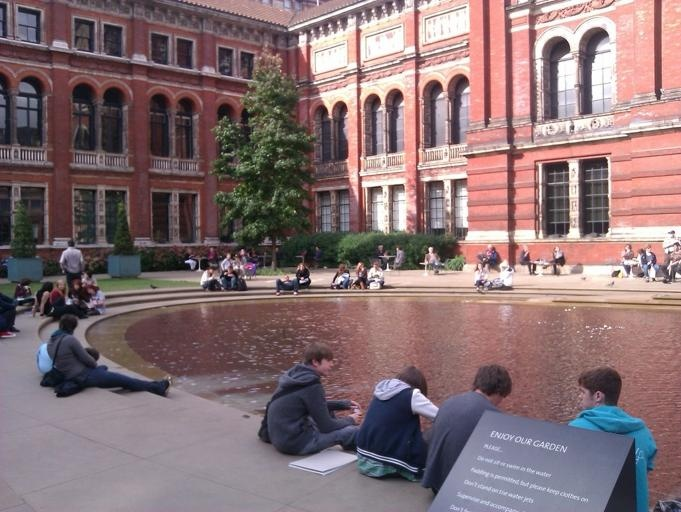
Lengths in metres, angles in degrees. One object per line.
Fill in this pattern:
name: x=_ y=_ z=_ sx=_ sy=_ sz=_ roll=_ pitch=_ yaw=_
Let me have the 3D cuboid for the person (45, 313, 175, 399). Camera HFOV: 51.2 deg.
person: x=-4.034 y=1.750 z=12.148 sx=2.132 sy=1.379 sz=1.003 roll=11 pitch=-22 yaw=-44

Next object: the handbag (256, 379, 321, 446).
handbag: x=-0.637 y=2.159 z=9.781 sx=0.631 sy=0.924 sz=0.918 roll=-2 pitch=-9 yaw=38

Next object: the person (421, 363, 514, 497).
person: x=1.457 y=2.110 z=8.178 sx=0.990 sy=1.558 sz=0.559 roll=-4 pitch=11 yaw=-22

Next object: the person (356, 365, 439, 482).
person: x=0.764 y=2.086 z=9.010 sx=0.950 sy=1.350 sz=1.018 roll=4 pitch=-2 yaw=43

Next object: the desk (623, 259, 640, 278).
desk: x=11.950 y=0.462 z=28.915 sx=0.839 sy=0.748 sz=0.581 roll=-8 pitch=13 yaw=-38

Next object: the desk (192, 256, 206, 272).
desk: x=-8.025 y=0.415 z=40.830 sx=0.681 sy=0.517 sz=0.678 roll=-7 pitch=12 yaw=-35

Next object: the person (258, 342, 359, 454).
person: x=-0.311 y=2.017 z=9.812 sx=1.482 sy=1.650 sz=1.153 roll=-4 pitch=8 yaw=-32

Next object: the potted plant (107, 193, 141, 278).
potted plant: x=-10.161 y=-0.526 z=33.104 sx=1.397 sy=3.023 sz=1.423 roll=-4 pitch=11 yaw=-21

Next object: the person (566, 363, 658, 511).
person: x=2.953 y=1.970 z=7.664 sx=0.835 sy=1.377 sz=0.627 roll=6 pitch=12 yaw=28
